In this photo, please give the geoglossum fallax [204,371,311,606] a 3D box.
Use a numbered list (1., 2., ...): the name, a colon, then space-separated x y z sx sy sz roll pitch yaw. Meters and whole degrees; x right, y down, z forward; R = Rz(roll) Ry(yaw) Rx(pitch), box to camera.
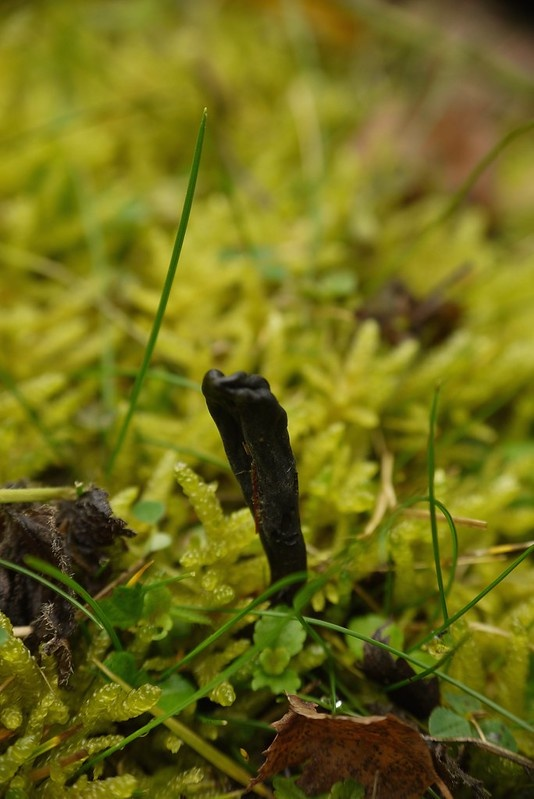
1. geoglossum fallax: 0.003 0.099 0.947 0.083 0.219 0.235 -17 -7 -1
